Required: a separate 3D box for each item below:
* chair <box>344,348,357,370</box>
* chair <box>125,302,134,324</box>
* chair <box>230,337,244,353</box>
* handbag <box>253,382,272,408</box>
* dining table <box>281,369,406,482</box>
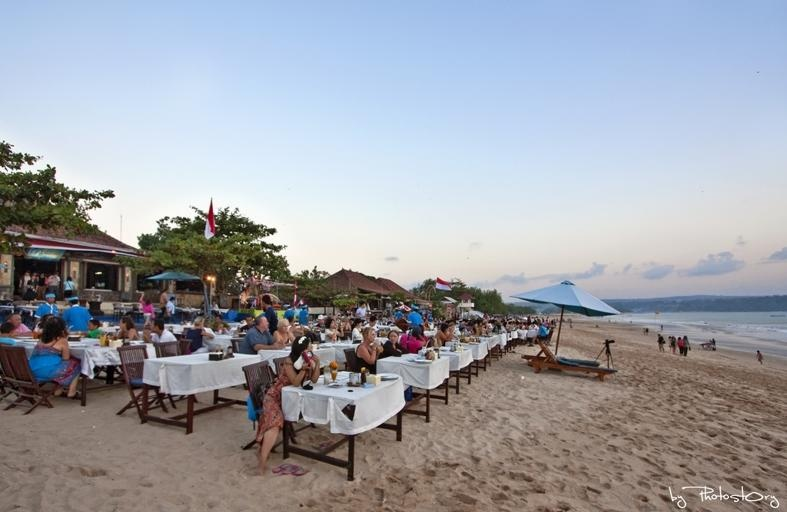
[{"bbox_3d":[-1.045,2.628,13.288,0.315,0.468,0.539,3,11,-7],"label":"chair"},{"bbox_3d":[-12.512,2.548,24.977,0.404,0.690,1.785,-2,12,-27],"label":"chair"},{"bbox_3d":[-4.124,2.380,14.001,0.390,0.405,0.377,3,-10,-22],"label":"chair"},{"bbox_3d":[-2.772,2.953,11.164,0.431,0.419,0.504,0,-14,-13],"label":"handbag"},{"bbox_3d":[-1.024,3.504,11.365,1.817,1.339,2.446,1,-2,28],"label":"dining table"}]
